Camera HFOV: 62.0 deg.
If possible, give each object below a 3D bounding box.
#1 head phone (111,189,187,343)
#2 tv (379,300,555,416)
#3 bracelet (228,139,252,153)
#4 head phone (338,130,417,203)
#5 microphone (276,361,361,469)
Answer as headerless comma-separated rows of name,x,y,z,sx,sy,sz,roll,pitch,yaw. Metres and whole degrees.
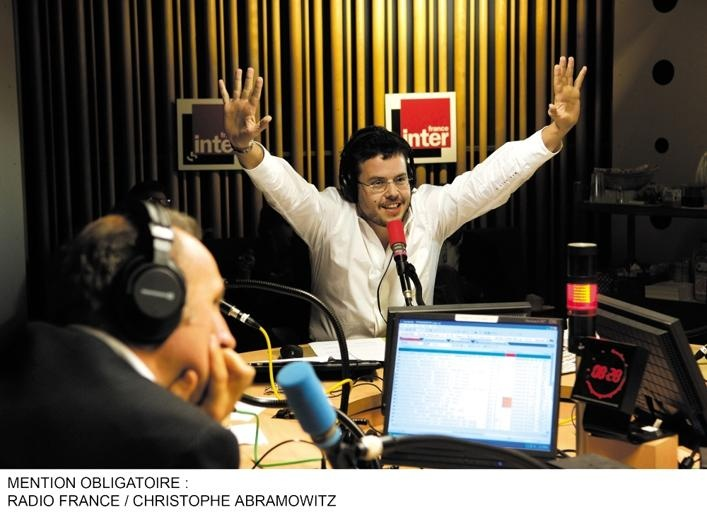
head phone,-0.249,0.008,0.731,0.061,0.165,0.164,5,-8,-24
tv,0.286,0.282,1.666,0.547,0.323,0.383,1,-15,-4
bracelet,-0.455,-0.453,2.418,0.058,0.029,0.070,-3,-3,-2
head phone,0.098,-0.380,2.576,0.378,0.371,0.153,-7,7,-14
microphone,-0.036,0.207,0.768,0.053,0.200,0.050,-12,33,20
